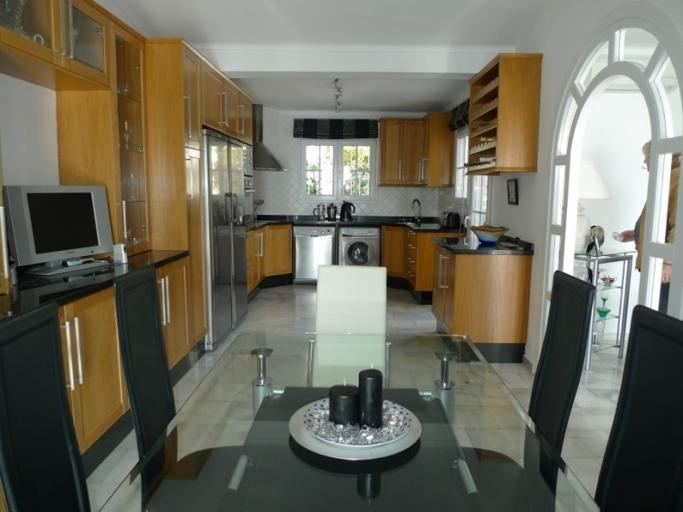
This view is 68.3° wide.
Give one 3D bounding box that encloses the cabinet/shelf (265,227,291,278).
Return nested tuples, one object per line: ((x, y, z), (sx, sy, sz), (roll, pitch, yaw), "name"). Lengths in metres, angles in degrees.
((-0.963, -0.076, 7.619), (0.170, 0.810, 0.631), (6, 12, 23), "cabinet/shelf")

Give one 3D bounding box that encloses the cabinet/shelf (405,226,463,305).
((1.305, 0.064, 6.818), (0.789, 1.217, 1.212), (1, 7, 4), "cabinet/shelf")

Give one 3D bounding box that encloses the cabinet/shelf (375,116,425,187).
((0.901, -1.661, 8.101), (0.727, 1.060, 0.475), (-3, 12, -12), "cabinet/shelf")

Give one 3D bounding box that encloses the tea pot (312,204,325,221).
((-0.369, -0.723, 8.388), (0.214, 0.254, 0.375), (-1, 12, -9), "tea pot")

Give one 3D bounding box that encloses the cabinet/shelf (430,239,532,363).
((1.299, 0.427, 5.087), (0.639, 1.024, 1.215), (2, 3, 0), "cabinet/shelf")

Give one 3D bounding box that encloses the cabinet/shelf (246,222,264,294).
((-1.147, 0.001, 6.594), (0.329, 0.780, 0.879), (0, 8, -2), "cabinet/shelf")

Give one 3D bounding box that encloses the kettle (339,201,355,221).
((0.099, -0.732, 8.258), (0.253, 0.294, 0.569), (1, 12, 2), "kettle")

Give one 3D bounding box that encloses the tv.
((-1.797, -0.154, 3.153), (0.159, 0.456, 0.560), (-3, 3, 16), "tv")

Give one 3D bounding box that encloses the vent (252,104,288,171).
((-1.266, -1.835, 8.076), (0.864, 0.982, 0.839), (-1, 3, -4), "vent")

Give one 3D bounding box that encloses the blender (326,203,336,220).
((-0.149, -0.715, 8.134), (0.198, 0.369, 0.258), (1, 7, 1), "blender")

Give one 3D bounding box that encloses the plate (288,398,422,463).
((0.053, 0.618, 1.831), (0.496, 0.066, 0.346), (1, 12, 2), "plate")

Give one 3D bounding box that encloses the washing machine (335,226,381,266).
((0.247, -0.136, 8.144), (0.728, 1.061, 0.549), (0, 3, -4), "washing machine")

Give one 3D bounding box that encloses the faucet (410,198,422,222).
((1.241, -0.737, 8.290), (0.176, 0.382, 0.513), (2, 12, 7), "faucet")

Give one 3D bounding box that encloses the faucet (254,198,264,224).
((-1.358, -0.736, 8.267), (0.131, 0.336, 0.473), (0, 12, -6), "faucet")

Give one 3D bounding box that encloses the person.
((2.289, -0.378, 3.868), (0.211, 0.996, 2.468), (6, 13, 25), "person")

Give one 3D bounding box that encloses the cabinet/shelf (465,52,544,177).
((1.521, -1.295, 4.846), (0.361, 0.987, 1.090), (0, 8, 1), "cabinet/shelf")

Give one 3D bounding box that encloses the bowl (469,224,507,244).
((1.403, -0.209, 4.695), (0.215, 0.103, 0.228), (-1, 5, 0), "bowl")

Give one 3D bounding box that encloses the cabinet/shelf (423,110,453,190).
((1.482, -1.593, 7.720), (0.361, 1.079, 0.637), (0, 7, 1), "cabinet/shelf")

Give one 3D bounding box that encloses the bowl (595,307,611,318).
((2.350, 0.508, 4.511), (0.089, 0.075, 0.105), (0, 5, -9), "bowl")
